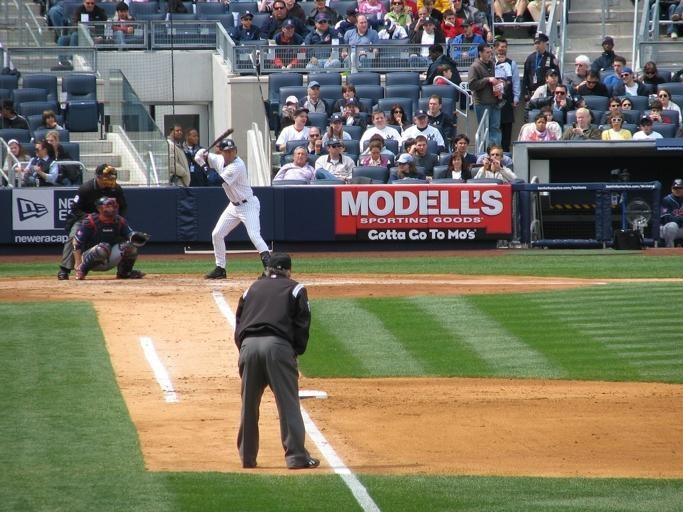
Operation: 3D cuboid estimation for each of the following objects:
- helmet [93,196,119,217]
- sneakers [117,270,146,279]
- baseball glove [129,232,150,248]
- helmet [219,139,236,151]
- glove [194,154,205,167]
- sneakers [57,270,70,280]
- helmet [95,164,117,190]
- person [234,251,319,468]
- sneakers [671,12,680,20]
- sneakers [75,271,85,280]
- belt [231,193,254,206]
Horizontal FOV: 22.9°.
[{"bbox_3d":[-4.158,-0.840,30.295,0.391,0.364,0.459,-1,7,-7],"label":"helmet"},{"bbox_3d":[-3.799,0.355,31.020,0.497,0.198,0.173,-3,14,-9],"label":"sneakers"},{"bbox_3d":[-3.567,-0.276,30.312,0.321,0.221,0.299,-4,6,-24],"label":"baseball glove"},{"bbox_3d":[-2.005,-1.938,29.905,0.219,0.128,0.273,-6,0,-17],"label":"helmet"},{"bbox_3d":[-2.467,-1.664,29.860,0.100,0.212,0.157,-12,-2,19],"label":"glove"},{"bbox_3d":[-5.040,0.370,30.835,0.139,0.144,0.221,1,8,-11],"label":"sneakers"},{"bbox_3d":[-4.167,-1.398,30.333,0.425,0.385,0.363,-2,8,44],"label":"helmet"},{"bbox_3d":[-0.861,1.449,22.887,1.056,2.853,0.578,-1,8,-4],"label":"person"},{"bbox_3d":[8.233,-5.749,41.050,0.223,0.092,0.302,3,10,12],"label":"sneakers"},{"bbox_3d":[-4.696,0.387,30.624,0.126,0.128,0.197,0,-6,6],"label":"sneakers"},{"bbox_3d":[-1.707,-0.973,30.279,0.408,0.195,0.205,-2,7,-14],"label":"belt"}]
